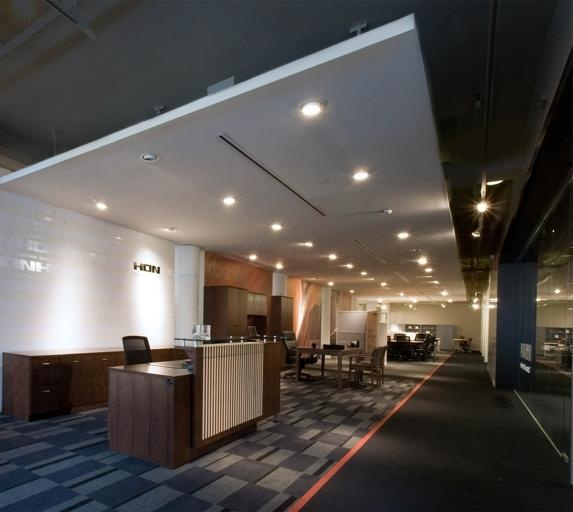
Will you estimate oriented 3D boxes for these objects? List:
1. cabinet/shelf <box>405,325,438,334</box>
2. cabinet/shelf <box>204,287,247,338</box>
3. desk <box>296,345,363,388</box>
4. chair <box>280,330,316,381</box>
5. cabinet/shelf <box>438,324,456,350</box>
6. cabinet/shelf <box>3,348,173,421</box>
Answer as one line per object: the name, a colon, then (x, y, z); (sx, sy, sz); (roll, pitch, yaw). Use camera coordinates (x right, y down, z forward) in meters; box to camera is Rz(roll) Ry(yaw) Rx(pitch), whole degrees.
cabinet/shelf: (8.933, 4.791, 26.999); (1.915, 0.588, 3.923); (-1, -8, 17)
cabinet/shelf: (-1.510, 1.341, 9.813); (0.433, 1.170, 1.181); (-1, -6, 26)
desk: (1.108, 2.400, 10.089); (1.230, 0.833, 1.275); (-2, -5, 29)
chair: (0.524, 2.636, 11.155); (1.183, 1.506, 1.098); (-6, -9, 28)
cabinet/shelf: (10.138, 5.068, 25.826); (1.045, 1.460, 0.772); (3, -7, -8)
cabinet/shelf: (-3.469, 1.891, 6.222); (0.695, 0.911, 1.347); (-2, -9, 29)
